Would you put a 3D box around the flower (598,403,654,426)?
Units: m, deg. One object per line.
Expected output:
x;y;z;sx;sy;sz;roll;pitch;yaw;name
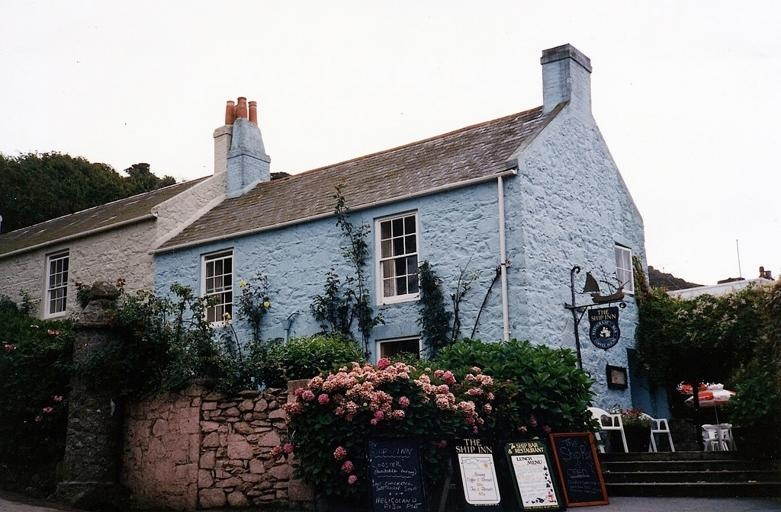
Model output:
5.577;3.760;16.962;1.119;0.475;0.860;4;-5;18;flower

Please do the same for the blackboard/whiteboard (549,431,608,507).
3.303;3.823;12.790;1.398;1.631;0.112;7;-34;-29;blackboard/whiteboard

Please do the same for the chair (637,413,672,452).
6.186;4.186;16.866;0.720;0.988;0.716;4;-29;-18;chair

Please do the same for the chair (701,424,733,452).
7.779;4.309;17.082;0.531;0.599;2.780;-7;-14;21;chair
